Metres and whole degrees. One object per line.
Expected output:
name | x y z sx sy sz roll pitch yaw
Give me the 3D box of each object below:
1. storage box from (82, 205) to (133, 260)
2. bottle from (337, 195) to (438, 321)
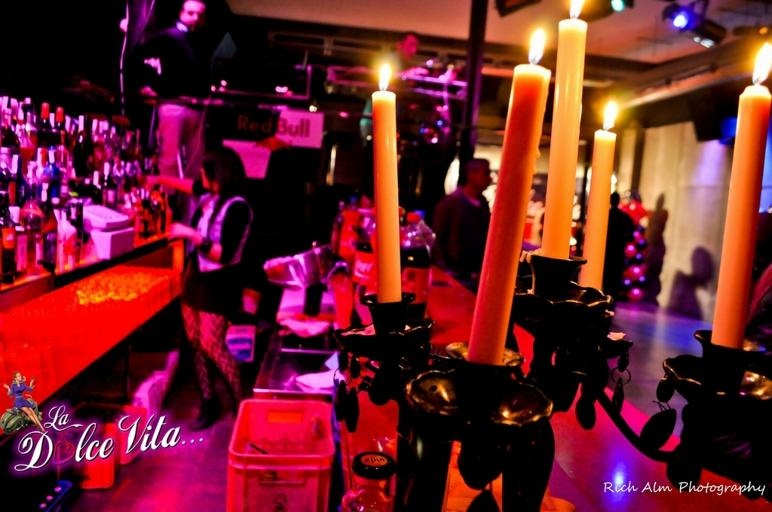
storage box | -1.187 -0.116 2.717 0.286 0.193 0.200 16 18 22
bottle | -0.030 -0.001 2.546 0.290 0.331 0.600 -1 3 2
